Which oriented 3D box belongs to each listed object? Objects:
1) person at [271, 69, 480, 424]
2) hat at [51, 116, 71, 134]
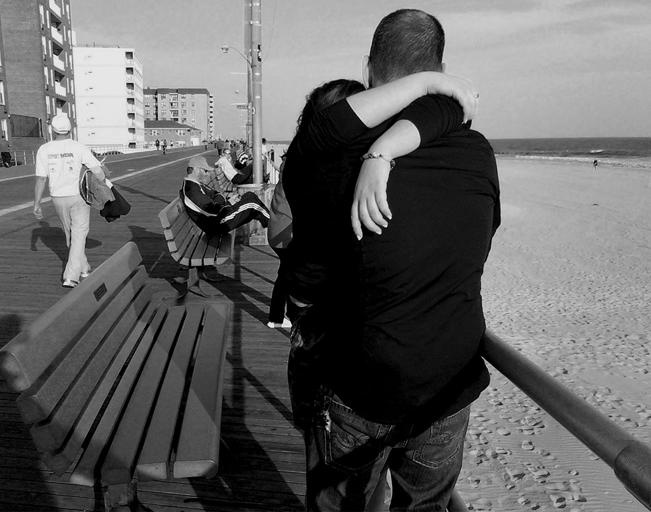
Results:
[{"bbox_3d":[0.129,-0.137,1.708,0.450,0.935,0.626,-10,17,-34],"label":"person"},{"bbox_3d":[-3.572,-1.801,6.624,0.204,0.293,0.629,-7,16,-28],"label":"hat"}]
